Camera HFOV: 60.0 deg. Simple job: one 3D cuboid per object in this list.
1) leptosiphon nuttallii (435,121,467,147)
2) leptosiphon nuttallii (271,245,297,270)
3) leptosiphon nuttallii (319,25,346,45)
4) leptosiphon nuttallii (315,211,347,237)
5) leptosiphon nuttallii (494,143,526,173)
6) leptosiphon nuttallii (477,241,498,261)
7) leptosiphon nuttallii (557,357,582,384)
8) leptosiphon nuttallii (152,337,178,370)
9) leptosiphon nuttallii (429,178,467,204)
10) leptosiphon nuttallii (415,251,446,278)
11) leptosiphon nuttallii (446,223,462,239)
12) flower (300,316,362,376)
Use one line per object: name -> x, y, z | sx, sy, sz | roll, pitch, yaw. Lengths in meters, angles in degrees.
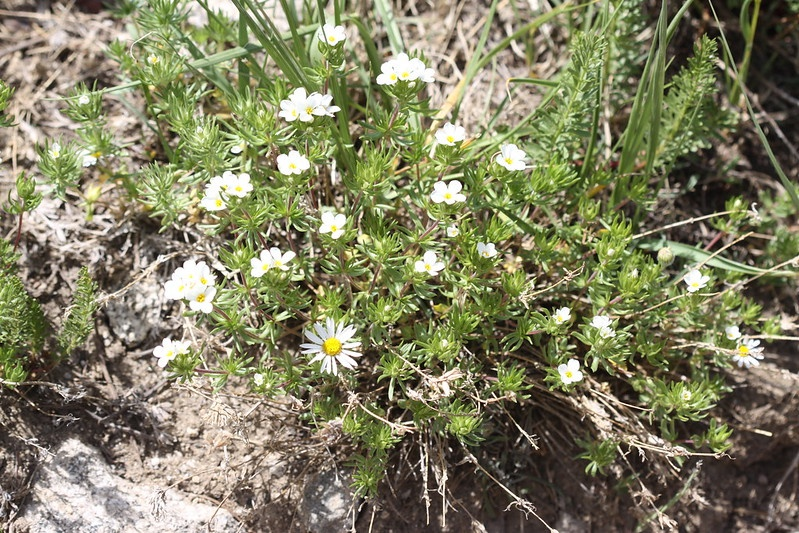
leptosiphon nuttallii -> 0.328, -0.838, 4.438 | 0.159, 0.082, 0.176 | -4, 82, -17
leptosiphon nuttallii -> -0.729, -0.044, 4.337 | 0.133, 0.075, 0.135 | 4, 46, -4
leptosiphon nuttallii -> -0.438, -1.471, 4.437 | 0.150, 0.062, 0.169 | -4, 83, -27
leptosiphon nuttallii -> -0.425, -0.261, 4.369 | 0.175, 0.173, 0.183 | -2, 71, 4
leptosiphon nuttallii -> 0.723, -0.690, 4.496 | 0.196, 0.172, 0.178 | 24, 75, 13
leptosiphon nuttallii -> 0.564, -0.110, 4.506 | 0.118, 0.094, 0.120 | -27, 71, -4
leptosiphon nuttallii -> 1.116, 0.687, 4.540 | 0.162, 0.125, 0.153 | -20, 71, -2
leptosiphon nuttallii -> -1.443, 0.541, 4.279 | 0.189, 0.064, 0.230 | -9, 64, 3
leptosiphon nuttallii -> 0.299, -0.454, 4.304 | 0.153, 0.051, 0.175 | -12, 59, -10
leptosiphon nuttallii -> 0.184, -0.034, 4.378 | 0.184, 0.114, 0.132 | -1, 71, 5
leptosiphon nuttallii -> 0.349, -0.240, 4.527 | 0.081, 0.138, 0.112 | -14, 70, 0
flower -> -0.416, 0.493, 4.255 | 0.351, 0.101, 0.349 | 20, 27, 21
